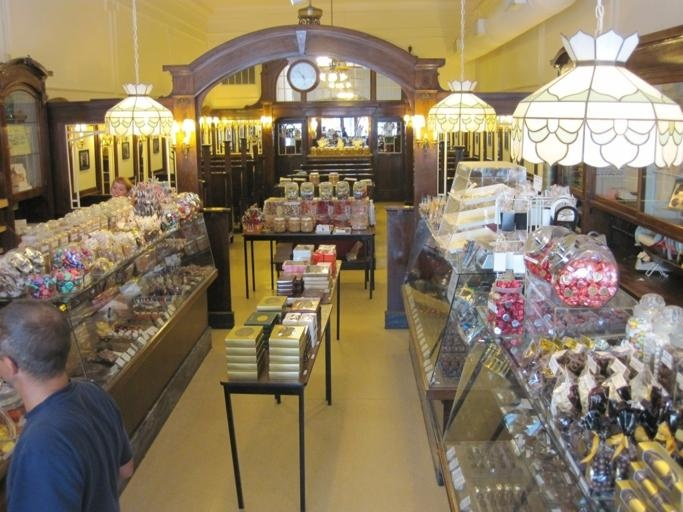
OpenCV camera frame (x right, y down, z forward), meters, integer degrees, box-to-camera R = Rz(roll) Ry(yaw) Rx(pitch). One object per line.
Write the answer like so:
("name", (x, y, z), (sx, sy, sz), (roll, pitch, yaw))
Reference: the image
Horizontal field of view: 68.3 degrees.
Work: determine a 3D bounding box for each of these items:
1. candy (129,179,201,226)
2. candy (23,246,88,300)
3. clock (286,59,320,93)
("candy", (-1.921, -0.578, 5.440), (0.467, 0.566, 0.784), (3, 12, 3))
("candy", (-1.920, 0.102, 3.438), (0.289, 0.254, 0.393), (0, 15, 1))
("clock", (-0.570, -2.712, 7.508), (0.388, 0.428, 0.480), (-6, 16, -19))
